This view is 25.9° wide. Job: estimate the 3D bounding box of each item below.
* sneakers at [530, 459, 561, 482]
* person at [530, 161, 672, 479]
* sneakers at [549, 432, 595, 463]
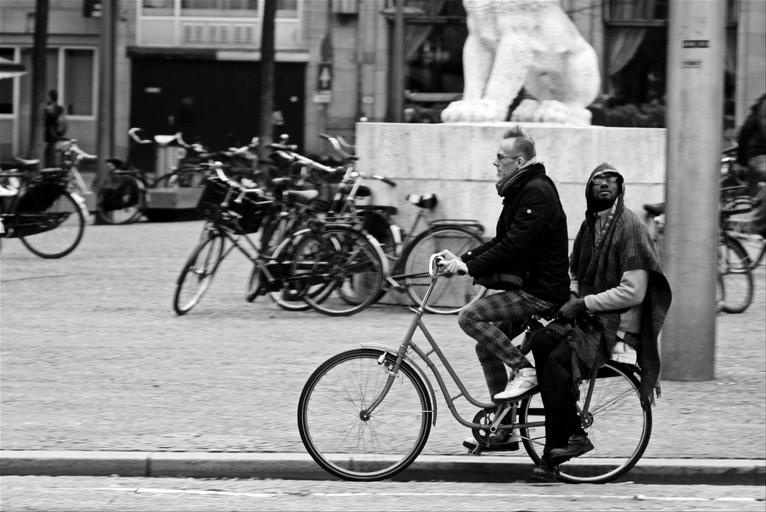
[{"bbox_3d":[1.521,1.939,15.326,0.234,0.199,0.122,4,7,17],"label":"sneakers"},{"bbox_3d":[2.004,0.598,15.382,1.178,2.857,0.555,0,8,-15],"label":"person"},{"bbox_3d":[1.774,1.718,15.318,0.467,0.180,0.194,-21,-7,35],"label":"sneakers"}]
